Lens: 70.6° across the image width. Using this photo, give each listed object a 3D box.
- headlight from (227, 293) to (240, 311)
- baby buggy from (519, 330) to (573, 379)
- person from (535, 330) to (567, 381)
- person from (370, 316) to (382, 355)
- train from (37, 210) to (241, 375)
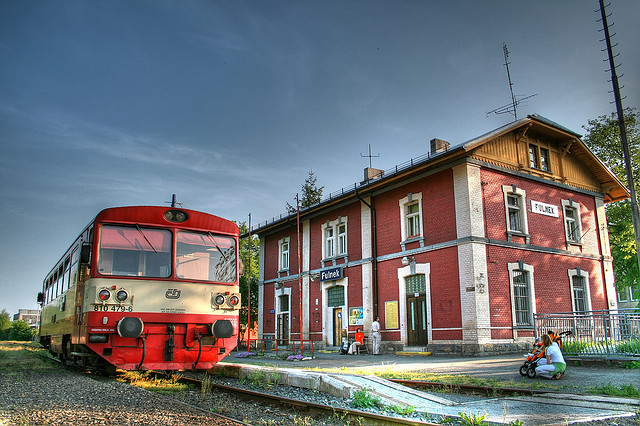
[{"bbox_3d":[-2.734,2.786,14.284,0.433,0.441,0.162,8,-16,-28],"label":"headlight"},{"bbox_3d":[7.324,4.457,14.610,2.184,1.186,0.808,-11,3,-23],"label":"baby buggy"},{"bbox_3d":[7.200,4.521,14.234,0.799,1.304,1.099,-8,-12,39],"label":"person"},{"bbox_3d":[3.216,7.001,26.002,0.471,2.111,0.846,-5,-20,12],"label":"person"},{"bbox_3d":[-6.145,2.647,14.527,6.005,4.824,4.043,-13,-24,32],"label":"train"}]
